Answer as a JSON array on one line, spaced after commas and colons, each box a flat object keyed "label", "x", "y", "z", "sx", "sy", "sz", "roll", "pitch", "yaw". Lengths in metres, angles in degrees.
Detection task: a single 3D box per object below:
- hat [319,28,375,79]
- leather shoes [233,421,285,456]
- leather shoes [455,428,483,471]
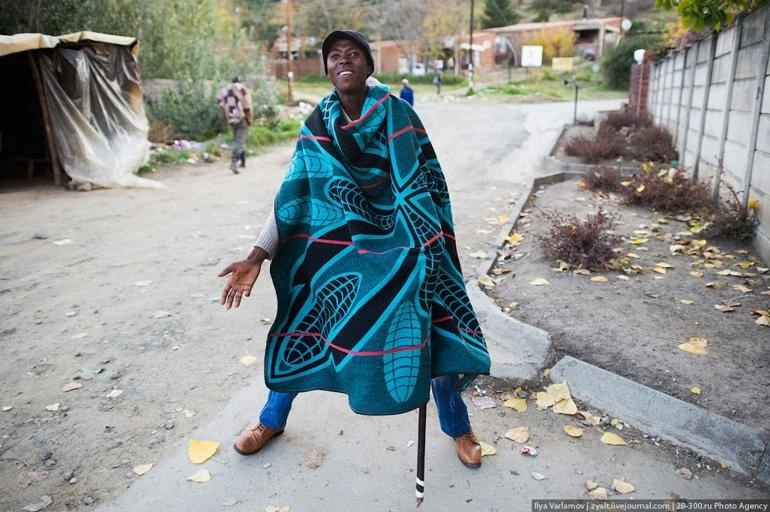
[{"label": "hat", "x": -0.271, "y": -1.557, "z": 3.915, "sx": 0.305, "sy": 0.425, "sz": 0.203, "roll": -5, "pitch": 23, "yaw": 2}, {"label": "leather shoes", "x": -1.006, "y": 1.424, "z": 4.242, "sx": 0.165, "sy": 0.210, "sz": 0.460, "roll": 34, "pitch": 24, "yaw": 22}, {"label": "leather shoes", "x": 0.636, "y": 1.458, "z": 4.170, "sx": 0.184, "sy": 0.216, "sz": 0.513, "roll": -5, "pitch": 9, "yaw": -5}]
